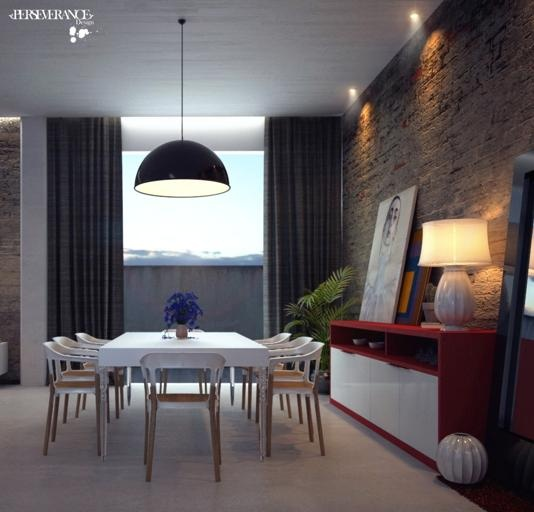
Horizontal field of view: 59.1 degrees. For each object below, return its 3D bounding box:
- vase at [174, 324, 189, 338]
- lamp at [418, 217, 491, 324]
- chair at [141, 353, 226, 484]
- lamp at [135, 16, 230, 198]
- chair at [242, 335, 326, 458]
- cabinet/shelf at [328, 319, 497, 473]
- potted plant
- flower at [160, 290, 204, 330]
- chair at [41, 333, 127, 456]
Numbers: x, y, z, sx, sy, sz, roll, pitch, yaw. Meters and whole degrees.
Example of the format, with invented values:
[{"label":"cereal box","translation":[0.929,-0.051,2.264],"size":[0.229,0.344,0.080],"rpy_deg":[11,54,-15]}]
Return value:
[{"label":"vase","translation":[-0.711,0.626,3.944],"size":[0.088,0.121,0.100],"rpy_deg":[1,-8,-7]},{"label":"lamp","translation":[1.258,0.095,3.157],"size":[0.394,0.739,0.431],"rpy_deg":[-1,7,17]},{"label":"chair","translation":[-0.666,1.066,3.848],"size":[0.670,0.759,2.279],"rpy_deg":[1,-6,-14]},{"label":"lamp","translation":[-0.719,-1.418,3.810],"size":[0.745,1.767,0.828],"rpy_deg":[-2,0,-22]},{"label":"chair","translation":[0.159,1.008,3.836],"size":[0.636,1.225,0.895],"rpy_deg":[2,-7,-7]},{"label":"cabinet/shelf","translation":[0.993,1.006,3.853],"size":[0.354,0.861,1.851],"rpy_deg":[3,-4,-15]},{"label":"potted plant","translation":[0.779,0.965,6.410],"size":[1.066,2.032,1.222],"rpy_deg":[0,-6,11]},{"label":"flower","translation":[-0.694,0.447,3.919],"size":[0.282,0.303,0.303],"rpy_deg":[1,-5,-9]},{"label":"chair","translation":[-1.501,1.163,3.878],"size":[0.470,0.892,0.815],"rpy_deg":[0,-5,-5]}]
